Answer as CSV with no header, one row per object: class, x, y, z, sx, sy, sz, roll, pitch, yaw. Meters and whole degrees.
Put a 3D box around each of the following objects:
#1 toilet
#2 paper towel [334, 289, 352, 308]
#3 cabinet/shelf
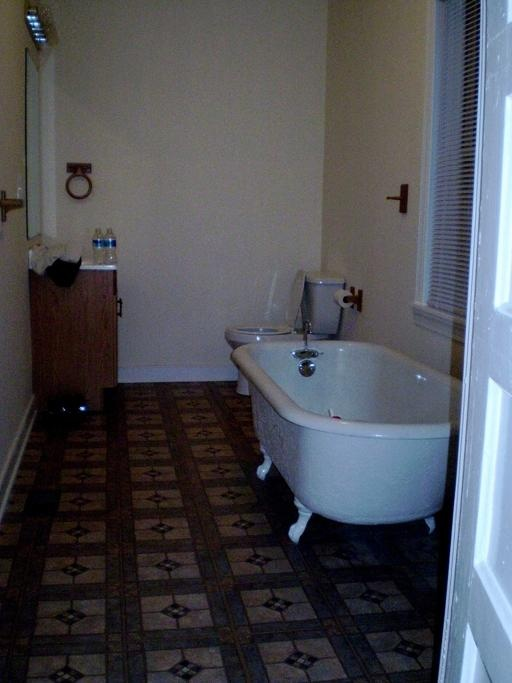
toilet,0.177,-0.064,4.079,0.890,0.903,0.468,0,7,-25
paper towel,0.577,-0.277,3.638,0.100,0.113,0.130,-12,4,-6
cabinet/shelf,-1.281,-0.119,3.941,0.501,0.956,0.978,1,14,-17
